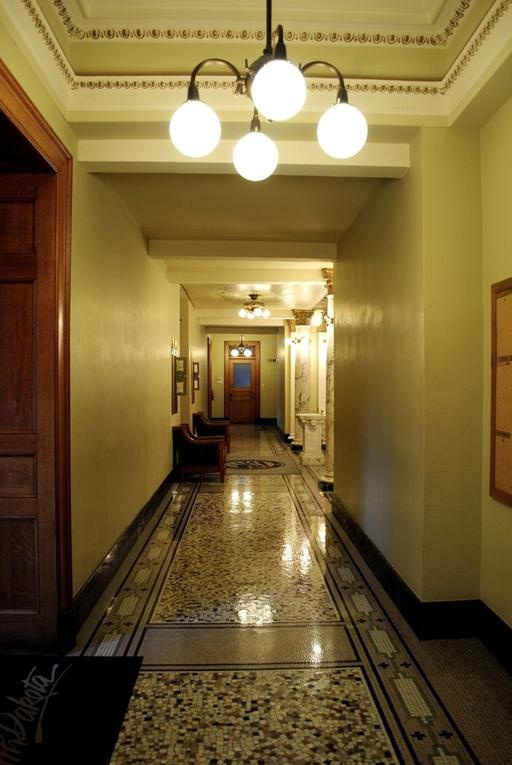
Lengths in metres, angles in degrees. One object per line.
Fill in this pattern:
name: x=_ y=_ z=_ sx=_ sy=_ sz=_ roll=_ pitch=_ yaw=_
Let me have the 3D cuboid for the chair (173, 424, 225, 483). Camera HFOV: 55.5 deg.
chair: x=-0.863 y=1.070 z=7.457 sx=0.788 sy=0.950 sz=0.657 roll=0 pitch=1 yaw=-4

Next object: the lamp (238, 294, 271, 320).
lamp: x=-0.054 y=-1.422 z=8.884 sx=0.470 sy=0.434 sz=0.773 roll=-1 pitch=-1 yaw=4

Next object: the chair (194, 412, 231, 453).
chair: x=-0.896 y=0.948 z=9.909 sx=0.761 sy=1.187 sz=0.784 roll=-1 pitch=1 yaw=-5

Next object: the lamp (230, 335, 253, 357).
lamp: x=-0.538 y=-1.353 z=17.334 sx=0.681 sy=0.924 sz=0.598 roll=1 pitch=-7 yaw=-7
